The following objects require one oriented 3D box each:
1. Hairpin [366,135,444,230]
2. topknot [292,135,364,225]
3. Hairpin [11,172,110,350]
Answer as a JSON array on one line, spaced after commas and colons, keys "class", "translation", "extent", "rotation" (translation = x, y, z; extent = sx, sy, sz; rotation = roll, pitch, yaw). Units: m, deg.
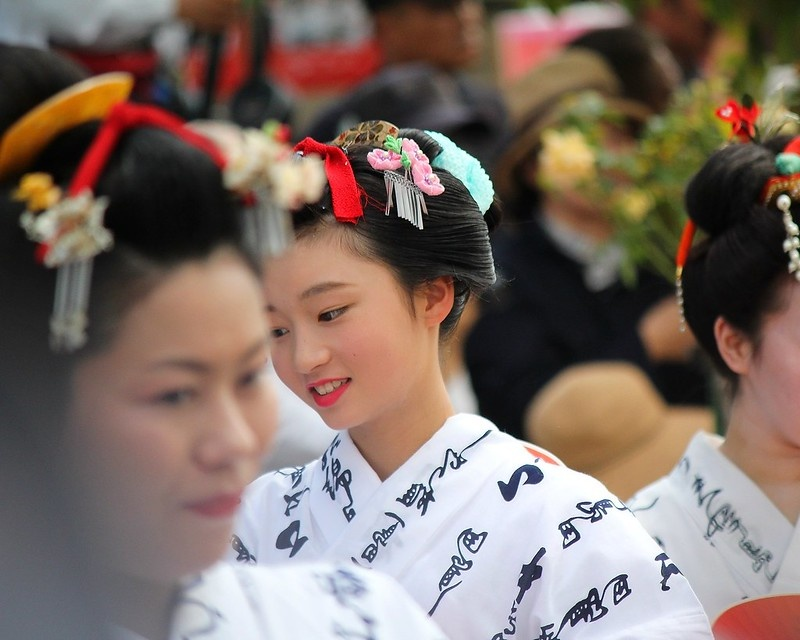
[{"class": "Hairpin", "translation": [0.014, -0.281, 2.579], "extent": [0.175, 0.165, 0.156], "rotation": [10, 26, 17]}, {"class": "topknot", "translation": [-0.129, -0.260, 2.350], "extent": [0.112, 0.151, 0.064], "rotation": [9, -33, -41]}, {"class": "Hairpin", "translation": [-0.385, -0.074, 1.566], "extent": [0.103, 0.169, 0.178], "rotation": [-13, 27, -14]}]
